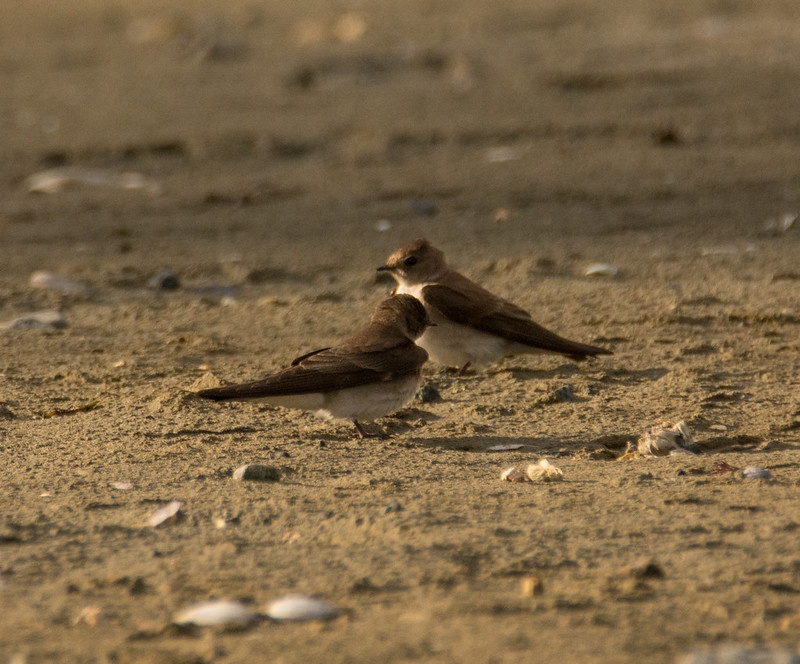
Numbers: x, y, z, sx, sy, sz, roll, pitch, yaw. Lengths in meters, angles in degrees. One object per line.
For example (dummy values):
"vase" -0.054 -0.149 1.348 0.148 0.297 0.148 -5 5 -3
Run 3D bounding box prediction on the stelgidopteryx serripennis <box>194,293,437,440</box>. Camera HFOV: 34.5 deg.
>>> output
"stelgidopteryx serripennis" -0.518 0.143 7.569 1.535 0.714 0.605 -2 12 -43
